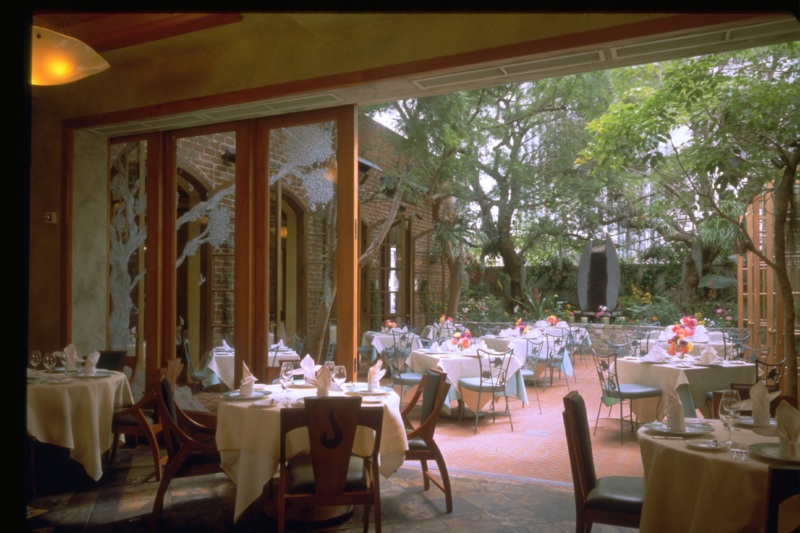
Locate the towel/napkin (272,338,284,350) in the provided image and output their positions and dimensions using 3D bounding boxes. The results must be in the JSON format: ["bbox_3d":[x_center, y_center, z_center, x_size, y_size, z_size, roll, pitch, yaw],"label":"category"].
[{"bbox_3d":[-1.375,0.893,6.757,0.130,0.089,0.090,0,-1,8],"label":"towel/napkin"}]

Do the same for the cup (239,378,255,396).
[{"bbox_3d":[-1.351,1.076,5.340,0.140,0.135,0.138,2,-13,0],"label":"cup"}]

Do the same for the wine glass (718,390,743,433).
[{"bbox_3d":[2.472,1.079,4.454,0.131,0.324,0.324,-3,-7,30],"label":"wine glass"}]

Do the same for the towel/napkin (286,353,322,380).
[{"bbox_3d":[-0.923,0.976,5.762,0.273,0.138,0.273,6,-34,-40],"label":"towel/napkin"}]

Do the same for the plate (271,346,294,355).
[{"bbox_3d":[-1.326,0.937,6.740,0.292,0.116,0.066,-2,-6,12],"label":"plate"}]

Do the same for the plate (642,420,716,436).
[{"bbox_3d":[2.106,1.227,4.503,0.518,0.077,0.310,-2,-7,8],"label":"plate"}]

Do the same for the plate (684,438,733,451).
[{"bbox_3d":[2.191,1.262,4.206,0.324,0.051,0.199,-2,-7,10],"label":"plate"}]

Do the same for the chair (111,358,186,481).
[{"bbox_3d":[-2.764,1.619,6.340,0.689,0.926,0.592,1,-6,-16],"label":"chair"}]

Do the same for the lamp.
[{"bbox_3d":[-2.765,-1.703,4.849,0.592,0.349,0.434,-1,-6,3],"label":"lamp"}]

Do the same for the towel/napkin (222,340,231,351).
[{"bbox_3d":[-2.007,0.917,6.925,0.112,0.115,0.039,-8,-10,21],"label":"towel/napkin"}]

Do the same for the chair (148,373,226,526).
[{"bbox_3d":[-1.931,1.633,5.391,0.537,1.250,0.991,2,-6,-21],"label":"chair"}]
